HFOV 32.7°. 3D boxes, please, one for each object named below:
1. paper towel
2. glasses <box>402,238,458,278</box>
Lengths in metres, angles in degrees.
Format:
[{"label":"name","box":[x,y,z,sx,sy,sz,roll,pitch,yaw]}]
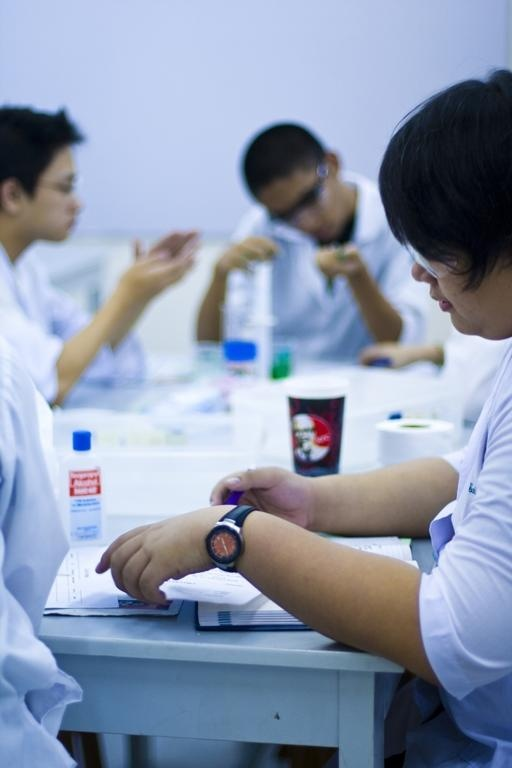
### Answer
[{"label":"paper towel","box":[0.250,0.084,1.346,0.136,0.071,0.124,-1,-1,-4]},{"label":"glasses","box":[0.163,-0.116,0.821,0.036,0.034,0.034,42,15,-5]}]
